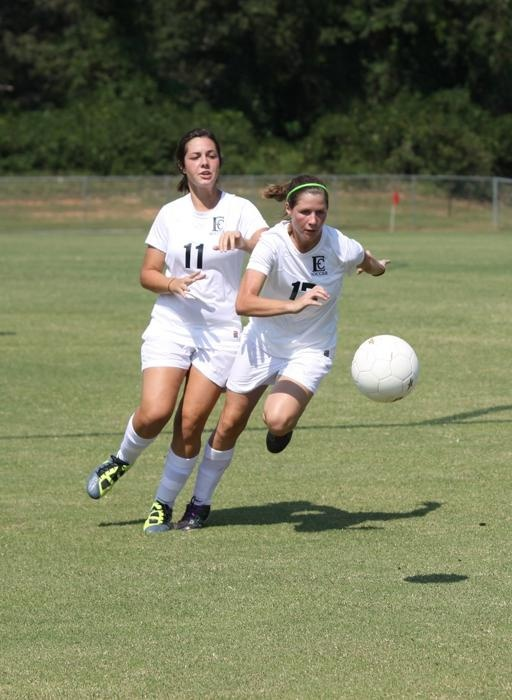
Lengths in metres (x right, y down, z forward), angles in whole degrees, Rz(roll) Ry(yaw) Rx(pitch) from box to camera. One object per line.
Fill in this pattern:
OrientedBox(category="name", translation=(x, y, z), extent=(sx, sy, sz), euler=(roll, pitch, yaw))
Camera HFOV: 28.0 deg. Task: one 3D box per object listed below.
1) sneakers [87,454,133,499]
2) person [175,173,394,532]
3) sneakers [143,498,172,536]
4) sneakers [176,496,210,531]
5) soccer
OrientedBox(category="sneakers", translation=(-0.610, 0.519, 4.362), extent=(0.094, 0.109, 0.266), euler=(44, 41, 5))
OrientedBox(category="person", translation=(0.043, 0.014, 4.163), extent=(0.756, 1.421, 0.674), euler=(0, 10, 8))
OrientedBox(category="sneakers", translation=(-0.401, 0.675, 4.135), extent=(0.116, 0.104, 0.155), euler=(-2, 9, -6))
OrientedBox(category="sneakers", translation=(-0.255, 0.676, 4.130), extent=(0.071, 0.070, 0.191), euler=(4, 3, 19))
OrientedBox(category="soccer", translation=(0.571, 0.111, 4.631), extent=(0.326, 0.261, 0.311), euler=(15, 23, 28))
